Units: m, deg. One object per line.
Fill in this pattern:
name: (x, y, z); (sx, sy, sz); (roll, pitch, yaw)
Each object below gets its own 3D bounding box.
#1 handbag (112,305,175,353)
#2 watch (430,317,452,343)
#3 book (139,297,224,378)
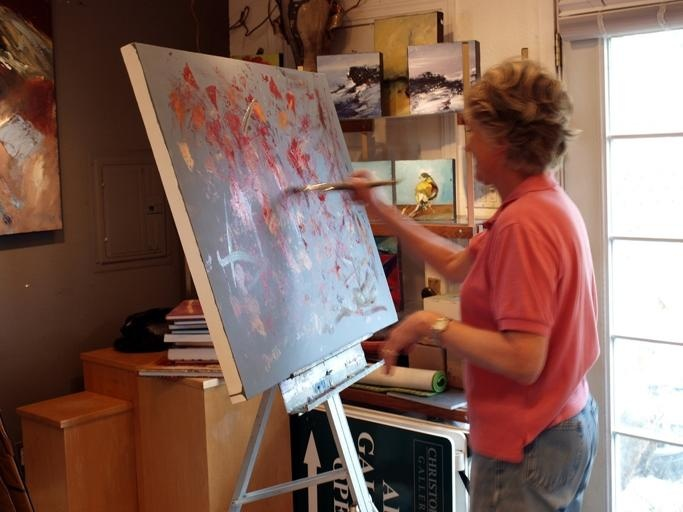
handbag: (-0.783, 0.293, 2.601); (0.154, 0.151, 0.268); (0, 1, 24)
watch: (0.242, 0.181, 1.580); (0.039, 0.064, 0.066); (14, 20, 24)
book: (-0.558, 0.294, 2.307); (0.330, 0.124, 0.256); (-1, 8, 7)
